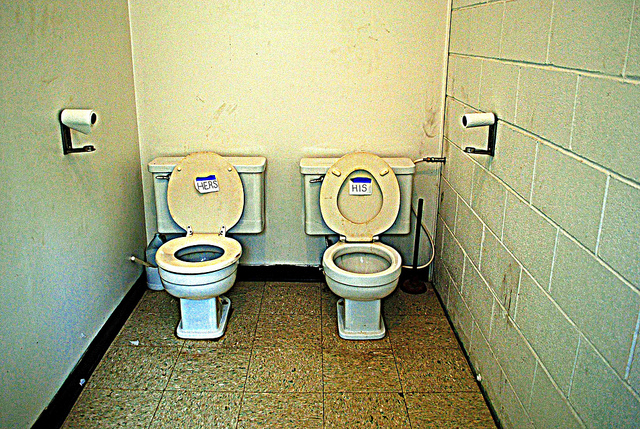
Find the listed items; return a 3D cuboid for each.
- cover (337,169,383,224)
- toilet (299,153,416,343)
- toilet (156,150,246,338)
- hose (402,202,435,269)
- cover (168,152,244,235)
[{"bbox_3d":[0.278,-0.124,3.273,0.478,0.537,0.060,1,18,6],"label":"cover"},{"bbox_3d":[0.305,0.142,3.273,0.845,1.060,0.952,-3,27,-3],"label":"toilet"},{"bbox_3d":[-0.772,0.177,3.219,0.597,1.047,0.784,-6,27,-9],"label":"toilet"},{"bbox_3d":[0.746,0.189,3.570,0.207,0.517,0.174,5,24,1],"label":"hose"},{"bbox_3d":[-0.788,-0.134,3.300,0.493,0.550,0.152,1,18,-5],"label":"cover"}]
